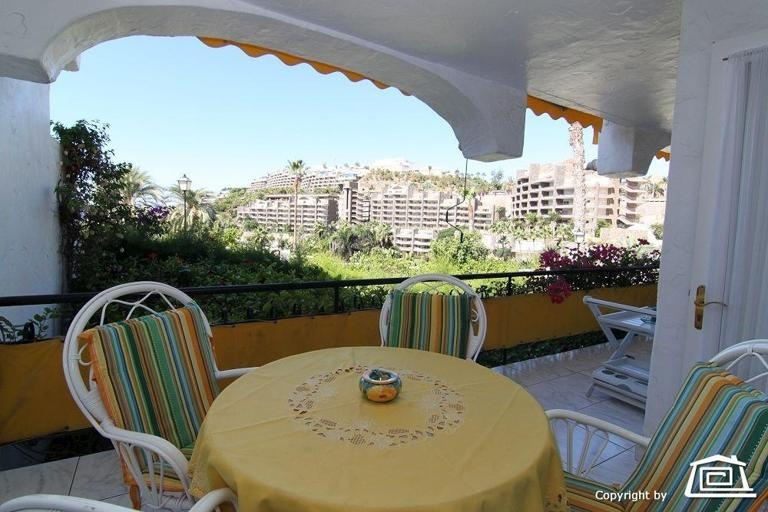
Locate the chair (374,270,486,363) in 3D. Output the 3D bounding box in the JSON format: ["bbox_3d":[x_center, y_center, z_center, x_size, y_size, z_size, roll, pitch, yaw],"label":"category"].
[{"bbox_3d":[0.337,0.727,3.762,0.720,0.972,0.709,0,35,8],"label":"chair"}]
